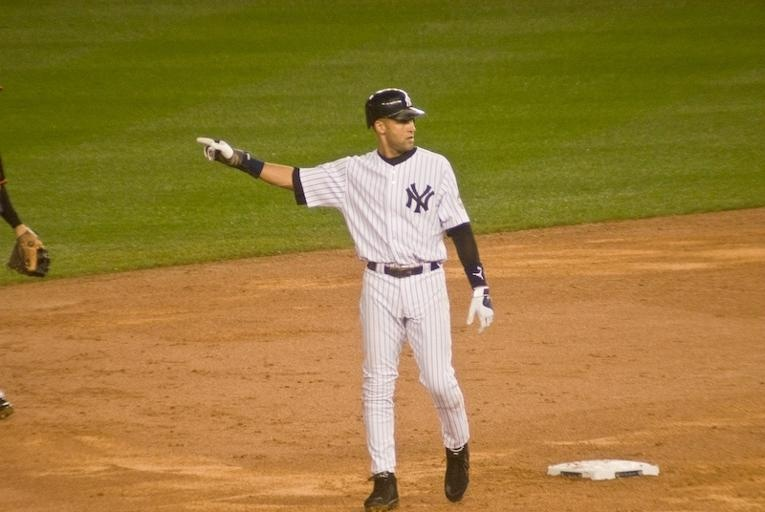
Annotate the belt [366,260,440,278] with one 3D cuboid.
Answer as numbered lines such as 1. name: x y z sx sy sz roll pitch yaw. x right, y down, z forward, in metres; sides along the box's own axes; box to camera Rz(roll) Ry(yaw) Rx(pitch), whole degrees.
1. belt: 0.218 0.151 13.742 0.770 0.190 0.125 -4 10 0

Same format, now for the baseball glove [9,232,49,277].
1. baseball glove: -4.254 -0.017 15.260 0.467 0.592 0.214 -10 11 -11

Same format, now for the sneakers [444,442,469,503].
1. sneakers: 0.791 2.372 13.902 0.321 0.537 0.288 0 -7 10

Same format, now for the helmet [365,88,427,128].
1. helmet: 0.056 -1.602 13.825 0.716 0.241 0.392 -6 13 11
